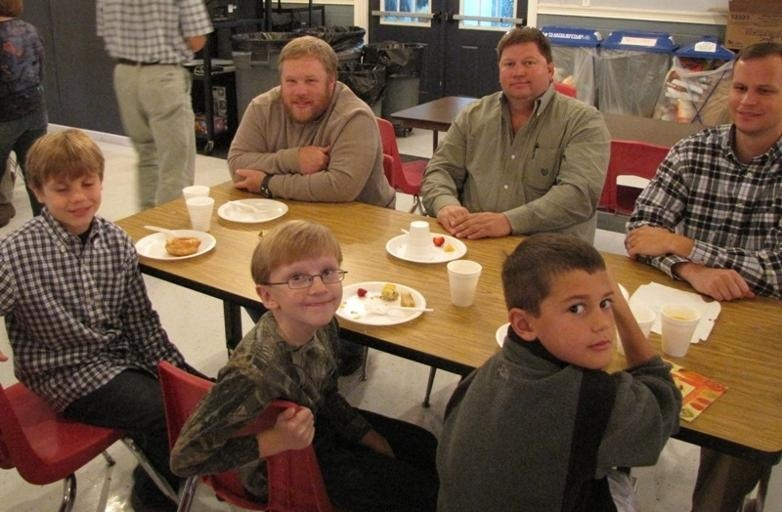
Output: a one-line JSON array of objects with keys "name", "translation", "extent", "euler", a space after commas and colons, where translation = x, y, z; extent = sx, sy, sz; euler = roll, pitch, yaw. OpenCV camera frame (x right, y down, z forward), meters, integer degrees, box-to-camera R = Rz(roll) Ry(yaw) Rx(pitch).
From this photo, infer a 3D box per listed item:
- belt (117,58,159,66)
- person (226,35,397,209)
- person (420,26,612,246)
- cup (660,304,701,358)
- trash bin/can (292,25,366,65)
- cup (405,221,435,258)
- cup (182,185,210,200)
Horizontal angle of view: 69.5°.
[{"name": "belt", "translation": [-1.942, -1.461, 4.273], "extent": [0.412, 0.051, 0.064], "euler": [12, 24, 19]}, {"name": "person", "translation": [-0.456, -0.655, 3.339], "extent": [1.055, 1.140, 0.916], "euler": [-8, 30, -9]}, {"name": "person", "translation": [0.685, -0.538, 3.216], "extent": [1.087, 1.395, 0.972], "euler": [6, 23, 22]}, {"name": "cup", "translation": [1.019, 0.264, 1.976], "extent": [0.142, 0.141, 0.130], "euler": [1, 20, -1]}, {"name": "trash bin/can", "translation": [-0.590, -2.569, 6.846], "extent": [0.509, 0.341, 0.493], "euler": [32, 54, 25]}, {"name": "cup", "translation": [0.119, -0.082, 2.565], "extent": [0.153, 0.141, 0.151], "euler": [0, 24, 0]}, {"name": "cup", "translation": [-0.979, -0.327, 2.850], "extent": [0.130, 0.053, 0.124], "euler": [1, 14, 0]}]
